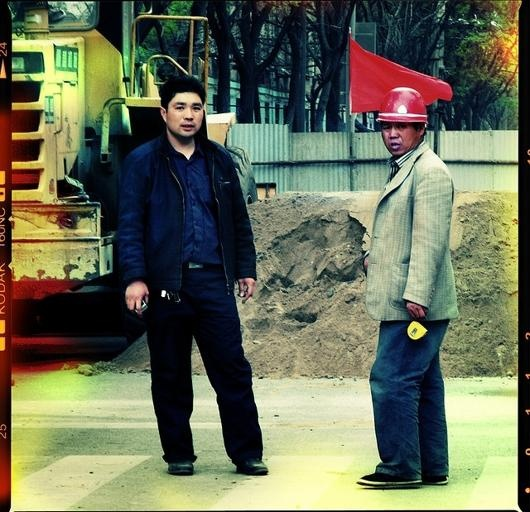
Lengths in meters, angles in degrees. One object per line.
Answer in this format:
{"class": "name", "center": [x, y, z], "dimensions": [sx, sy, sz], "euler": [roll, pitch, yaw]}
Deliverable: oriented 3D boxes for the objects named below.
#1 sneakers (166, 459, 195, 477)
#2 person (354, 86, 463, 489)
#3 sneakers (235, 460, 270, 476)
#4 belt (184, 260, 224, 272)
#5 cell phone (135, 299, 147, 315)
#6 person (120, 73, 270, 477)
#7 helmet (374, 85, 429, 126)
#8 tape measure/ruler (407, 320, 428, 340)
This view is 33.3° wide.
{"class": "sneakers", "center": [-0.481, 1.209, 5.047], "dimensions": [0.134, 0.065, 0.068], "euler": [-4, -1, -8]}
{"class": "person", "center": [0.778, 0.144, 4.853], "dimensions": [0.524, 2.184, 0.441], "euler": [0, 2, 13]}
{"class": "sneakers", "center": [-0.077, 1.201, 5.052], "dimensions": [0.182, 0.086, 0.076], "euler": [-9, -7, 42]}
{"class": "belt", "center": [-0.353, 0.056, 5.053], "dimensions": [0.226, 0.048, 0.021], "euler": [-2, 2, -22]}
{"class": "cell phone", "center": [-0.692, 0.275, 4.902], "dimensions": [0.041, 0.047, 0.077], "euler": [7, 27, 12]}
{"class": "person", "center": [-0.431, 0.099, 5.111], "dimensions": [0.816, 2.298, 0.435], "euler": [-1, 2, -12]}
{"class": "helmet", "center": [0.779, -0.857, 5.016], "dimensions": [0.275, 0.213, 0.353], "euler": [5, 5, 35]}
{"class": "tape measure/ruler", "center": [0.802, 0.391, 4.684], "dimensions": [0.031, 0.097, 0.098], "euler": [19, 16, -41]}
